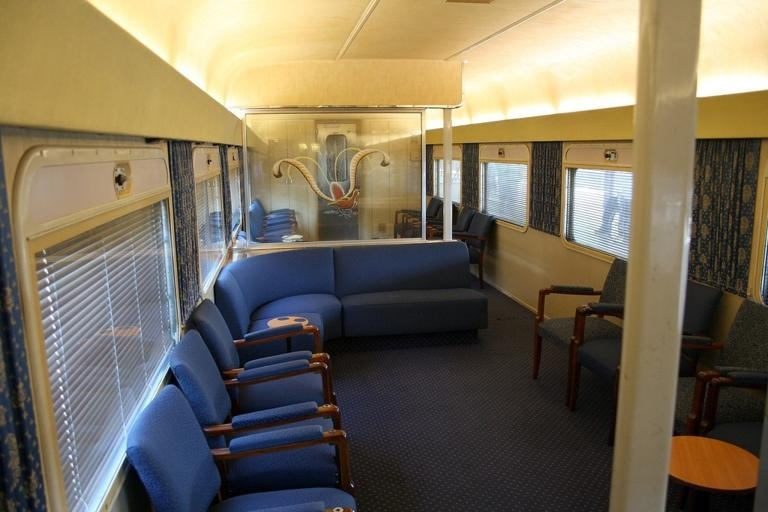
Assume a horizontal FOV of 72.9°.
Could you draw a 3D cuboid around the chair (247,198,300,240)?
[{"bbox_3d":[-1.481,-0.472,6.906,0.530,0.403,0.531,-1,21,-8],"label":"chair"}]
